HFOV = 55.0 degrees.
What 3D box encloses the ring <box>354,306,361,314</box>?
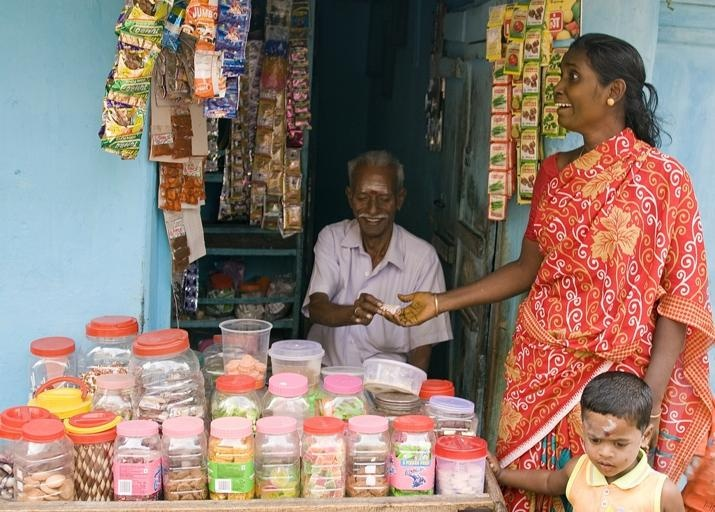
[{"bbox_3d":[-0.003,0.246,3.105,0.020,0.028,0.028,1,-30,5],"label":"ring"}]
